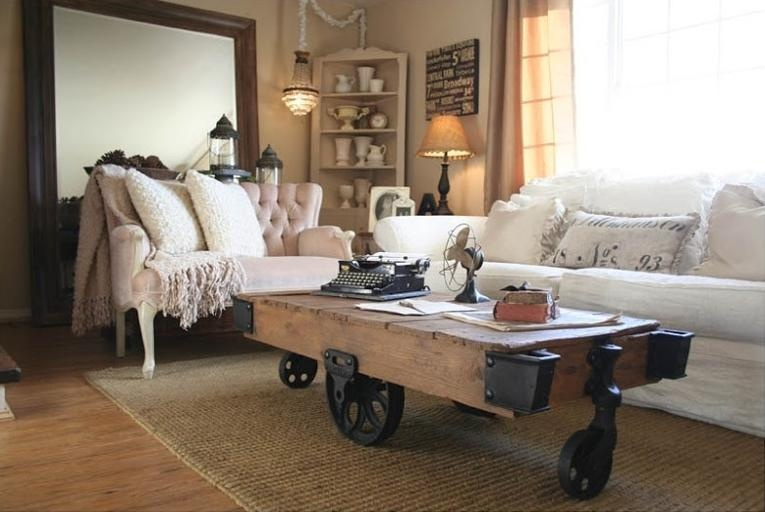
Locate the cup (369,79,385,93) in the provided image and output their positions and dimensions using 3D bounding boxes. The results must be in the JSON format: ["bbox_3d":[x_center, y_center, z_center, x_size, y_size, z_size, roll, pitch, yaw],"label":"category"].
[{"bbox_3d":[-0.057,-1.589,5.333,0.128,0.125,0.118,0,12,0],"label":"cup"}]

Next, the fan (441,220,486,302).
[{"bbox_3d":[0.396,0.049,2.572,0.222,0.350,0.306,7,-10,-11],"label":"fan"}]

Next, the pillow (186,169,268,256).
[{"bbox_3d":[-0.955,-0.249,3.447,0.172,0.504,0.583,-25,-14,23],"label":"pillow"}]

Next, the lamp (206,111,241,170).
[{"bbox_3d":[-1.222,-0.859,4.314,0.216,0.404,0.459,-4,12,-15],"label":"lamp"}]

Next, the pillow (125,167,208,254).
[{"bbox_3d":[-1.258,-0.254,3.289,0.162,0.472,0.534,-28,-9,24],"label":"pillow"}]

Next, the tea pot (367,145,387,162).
[{"bbox_3d":[-0.068,-0.969,5.458,0.208,0.193,0.147,2,2,-4],"label":"tea pot"}]

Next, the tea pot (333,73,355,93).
[{"bbox_3d":[-0.355,-1.626,5.399,0.209,0.167,0.182,-3,12,-13],"label":"tea pot"}]
